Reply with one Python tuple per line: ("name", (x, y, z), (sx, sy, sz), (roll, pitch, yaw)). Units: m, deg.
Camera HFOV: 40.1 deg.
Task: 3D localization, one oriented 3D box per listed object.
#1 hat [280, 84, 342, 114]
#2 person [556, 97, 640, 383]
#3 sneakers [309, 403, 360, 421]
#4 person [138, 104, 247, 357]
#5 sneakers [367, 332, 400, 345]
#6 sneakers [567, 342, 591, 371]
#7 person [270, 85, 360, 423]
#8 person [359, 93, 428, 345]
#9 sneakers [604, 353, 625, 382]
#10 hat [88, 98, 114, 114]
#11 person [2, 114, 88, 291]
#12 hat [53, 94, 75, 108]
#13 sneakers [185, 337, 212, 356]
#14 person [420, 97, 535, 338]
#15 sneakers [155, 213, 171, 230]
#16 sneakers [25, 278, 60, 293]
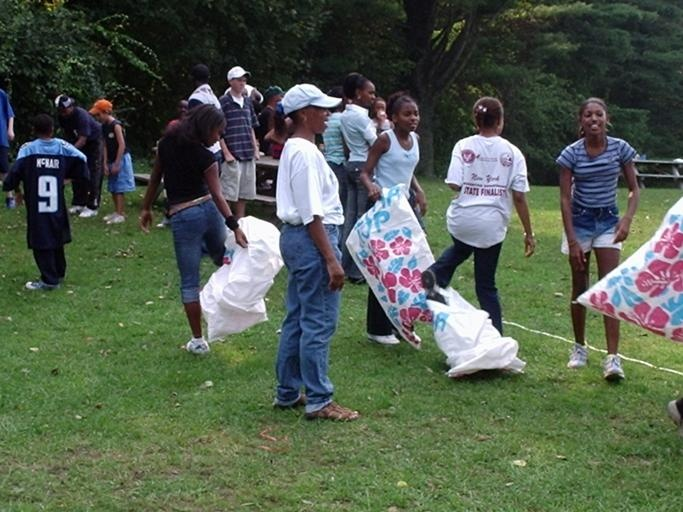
("hat", (-0.303, -1.507, 8.936), (0.439, 0.221, 0.291), (-5, 16, -3))
("person", (2.652, -0.203, 9.819), (0.830, 2.877, 0.777), (3, 7, 17))
("sneakers", (-0.060, 1.495, 9.138), (0.499, 0.228, 0.186), (-3, 0, 1))
("person", (-1.549, -0.257, 9.986), (1.245, 2.665, 0.553), (2, 7, 10))
("sneakers", (0.480, 0.936, 10.626), (0.357, 0.157, 0.132), (1, -1, 2))
("sneakers", (2.525, 1.082, 10.006), (0.130, 0.159, 0.371), (2, 5, 24))
("person", (-0.279, -0.024, 8.984), (0.779, 3.194, 0.463), (2, 7, 12))
("person", (0.588, -0.439, 10.695), (0.686, 2.812, 1.205), (2, 7, 12))
("sneakers", (2.812, 1.156, 9.630), (0.193, 0.265, 0.197), (3, 8, 16))
("hat", (-3.766, -2.286, 14.571), (0.399, 0.242, 0.286), (1, 17, -1))
("person", (-3.745, -0.690, 11.822), (0.602, 2.148, 0.749), (4, 8, 25))
("hat", (-4.130, -2.287, 13.912), (0.246, 0.185, 0.611), (-1, 8, -16))
("sneakers", (-1.570, 0.984, 10.248), (0.260, 0.169, 0.140), (9, 11, 36))
("person", (1.498, -0.418, 9.935), (1.077, 2.480, 0.494), (2, 7, 9))
("sneakers", (-2.622, -0.483, 13.693), (0.292, 0.097, 0.102), (-11, 49, 13))
("sneakers", (-3.750, 0.373, 11.687), (0.384, 0.157, 0.156), (8, 8, -5))
